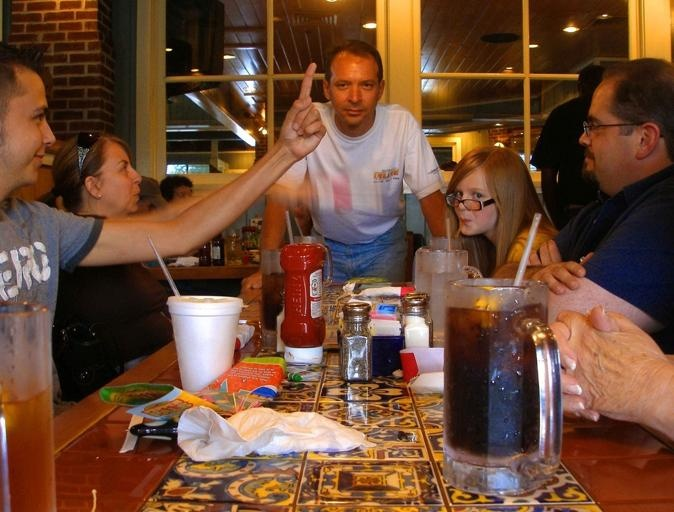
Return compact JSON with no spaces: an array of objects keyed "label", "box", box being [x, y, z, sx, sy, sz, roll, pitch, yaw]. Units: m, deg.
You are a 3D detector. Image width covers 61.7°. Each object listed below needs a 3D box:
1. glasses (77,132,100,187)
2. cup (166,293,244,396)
[{"label":"glasses","box":[-0.933,-0.382,2.150,0.052,0.149,0.116,-2,22,-17]},{"label":"cup","box":[-0.220,0.171,1.091,0.185,0.177,0.178,1,-5,0]}]
